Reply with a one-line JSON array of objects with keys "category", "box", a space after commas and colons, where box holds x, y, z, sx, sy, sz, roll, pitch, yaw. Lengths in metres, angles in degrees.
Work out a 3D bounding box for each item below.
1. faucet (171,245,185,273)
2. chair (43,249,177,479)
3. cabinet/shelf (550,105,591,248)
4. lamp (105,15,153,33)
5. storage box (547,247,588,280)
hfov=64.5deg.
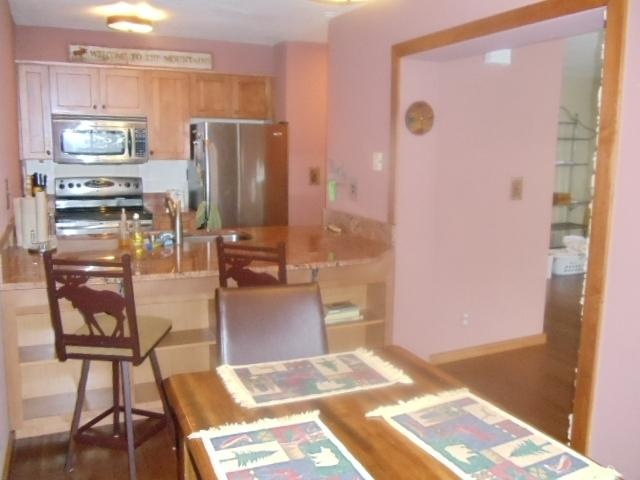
[{"category": "faucet", "box": [-0.883, 0.122, 3.138, 0.055, 0.261, 0.055, -14, 58, -21]}, {"category": "chair", "box": [-1.093, 0.606, 2.725, 0.594, 1.218, 0.661, -6, 13, -27]}, {"category": "cabinet/shelf", "box": [3.425, -0.846, 6.864, 0.447, 1.886, 0.434, 4, 12, 17]}, {"category": "lamp", "box": [-1.675, -1.910, 4.469, 0.377, 0.105, 0.234, -4, 12, -19]}, {"category": "storage box", "box": [2.927, 0.294, 6.000, 0.407, 0.243, 0.400, 2, 11, 8]}]
